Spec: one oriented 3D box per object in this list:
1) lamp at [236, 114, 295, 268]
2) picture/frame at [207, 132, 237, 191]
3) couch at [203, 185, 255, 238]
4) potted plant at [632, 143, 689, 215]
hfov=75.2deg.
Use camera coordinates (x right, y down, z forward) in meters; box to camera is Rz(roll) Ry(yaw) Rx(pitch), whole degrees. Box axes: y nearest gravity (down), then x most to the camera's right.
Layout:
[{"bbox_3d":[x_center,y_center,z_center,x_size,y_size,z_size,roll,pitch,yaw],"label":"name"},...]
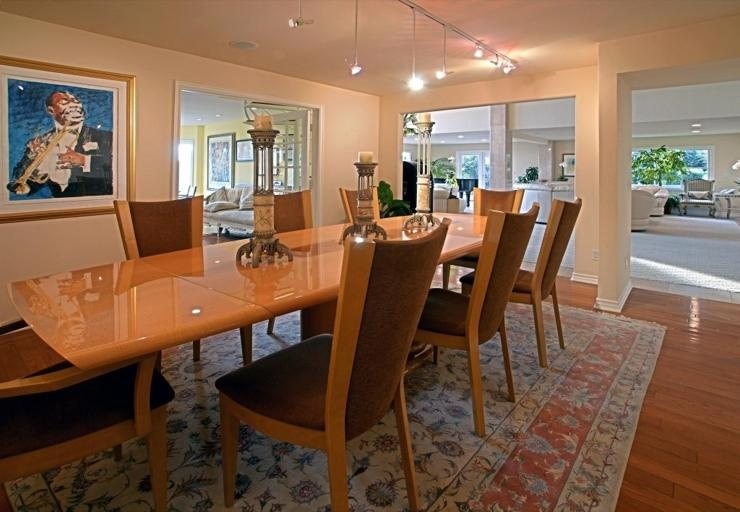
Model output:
[{"bbox_3d":[-0.592,-0.326,2.677,0.288,0.855,0.272,9,6,36],"label":"lamp"},{"bbox_3d":[-3.579,-2.327,11.699,1.791,1.888,0.078,6,7,44],"label":"picture/frame"},{"bbox_3d":[-2.552,-0.778,8.699,0.509,0.540,1.404,-9,14,-42],"label":"couch"},{"bbox_3d":[8.857,-2.413,14.784,1.519,2.263,1.486,6,7,19],"label":"potted plant"}]
